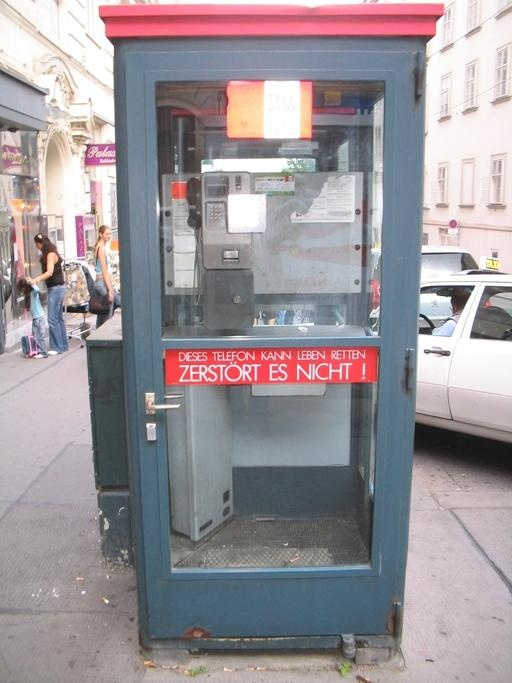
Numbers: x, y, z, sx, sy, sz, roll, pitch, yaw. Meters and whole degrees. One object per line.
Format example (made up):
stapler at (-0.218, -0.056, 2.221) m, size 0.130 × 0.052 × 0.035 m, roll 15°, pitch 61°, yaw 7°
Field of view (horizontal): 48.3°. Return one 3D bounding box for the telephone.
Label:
telephone at (-0.129, -0.466, 2.157) m, size 0.254 × 0.564 × 0.266 m, roll 0°, pitch 21°, yaw -6°

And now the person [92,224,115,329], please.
person at (-2.500, -1.075, 9.373) m, size 0.297 × 1.659 × 0.688 m, roll -1°, pitch 7°, yaw -13°

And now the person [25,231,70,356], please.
person at (-3.183, -0.717, 8.746) m, size 0.480 × 1.855 × 0.475 m, roll -3°, pitch 1°, yaw -8°

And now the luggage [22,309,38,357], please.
luggage at (-3.386, -0.015, 8.529) m, size 0.209 × 0.526 × 0.337 m, roll -2°, pitch 8°, yaw -24°

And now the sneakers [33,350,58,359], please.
sneakers at (-3.169, 0.211, 8.626) m, size 0.092 × 0.141 × 0.307 m, roll -6°, pitch -12°, yaw 12°

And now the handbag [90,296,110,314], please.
handbag at (-2.500, -0.595, 9.142) m, size 0.226 × 0.277 × 0.102 m, roll 0°, pitch 5°, yaw 0°
